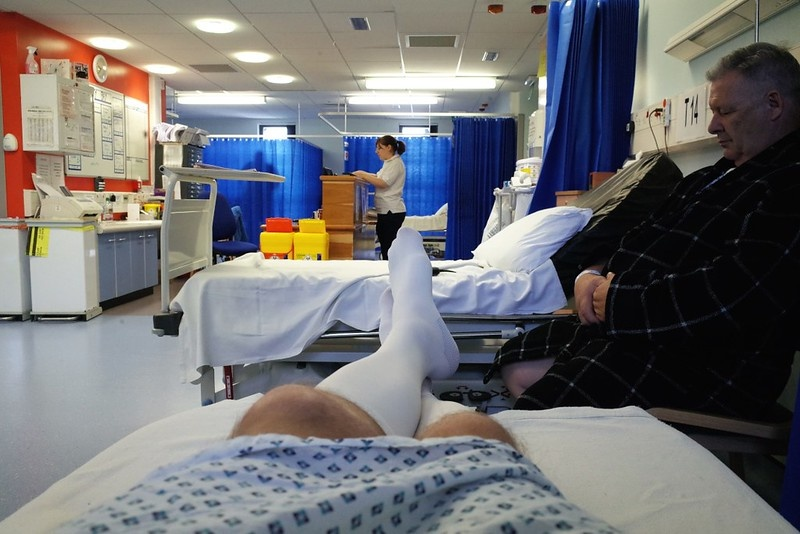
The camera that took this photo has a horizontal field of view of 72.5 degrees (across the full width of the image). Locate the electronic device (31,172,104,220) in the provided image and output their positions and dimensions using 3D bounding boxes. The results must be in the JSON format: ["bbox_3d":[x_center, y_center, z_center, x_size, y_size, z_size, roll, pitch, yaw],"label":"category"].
[{"bbox_3d":[-3.015,-0.613,4.879,0.647,0.434,0.344,1,5,-6],"label":"electronic device"}]

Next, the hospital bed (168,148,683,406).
[{"bbox_3d":[0.124,0.076,2.977,2.286,0.932,1.346,0,2,4],"label":"hospital bed"}]

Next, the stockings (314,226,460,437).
[{"bbox_3d":[0.034,0.170,1.654,0.258,0.191,0.691,23,21,-2],"label":"stockings"}]

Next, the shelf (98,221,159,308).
[{"bbox_3d":[-2.835,-0.031,5.630,0.500,0.741,0.889,0,6,3],"label":"shelf"}]

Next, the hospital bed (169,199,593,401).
[{"bbox_3d":[-0.130,0.148,2.888,1.803,0.737,1.081,0,4,3],"label":"hospital bed"}]

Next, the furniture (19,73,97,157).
[{"bbox_3d":[-3.392,-1.496,5.340,0.336,0.751,0.932,1,6,0],"label":"furniture"}]
